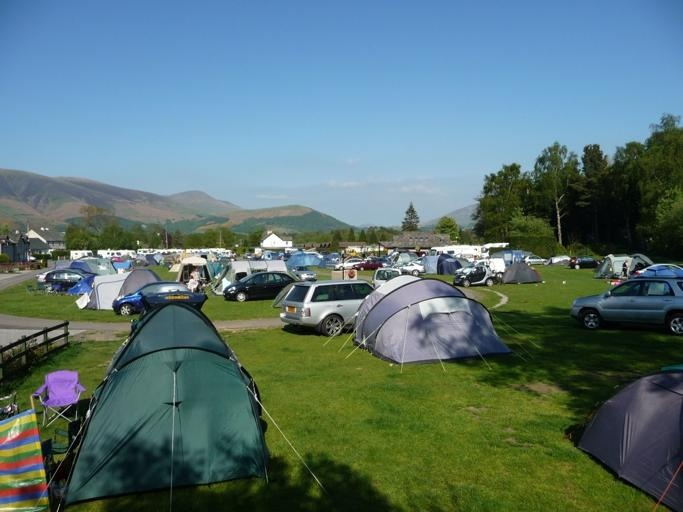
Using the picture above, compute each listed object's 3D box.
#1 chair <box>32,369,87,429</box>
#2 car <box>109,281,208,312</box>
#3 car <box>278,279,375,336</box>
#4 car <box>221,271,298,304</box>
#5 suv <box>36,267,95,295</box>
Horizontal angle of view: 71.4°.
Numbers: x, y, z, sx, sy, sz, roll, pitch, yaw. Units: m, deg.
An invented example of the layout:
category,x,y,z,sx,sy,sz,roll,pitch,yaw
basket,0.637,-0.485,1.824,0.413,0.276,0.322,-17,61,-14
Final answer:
category,x,y,z,sx,sy,sz,roll,pitch,yaw
chair,-6.421,3.322,10.981,0.941,1.126,0.884,0,-1,-18
car,-9.034,1.965,22.722,3.222,1.145,1.538,2,-4,-12
car,-0.576,2.002,18.522,3.230,1.275,1.859,-2,2,-26
car,-5.446,2.001,30.495,3.752,1.437,2.151,2,-2,-22
suv,-20.329,2.006,35.229,3.702,1.306,1.731,-2,5,-24
